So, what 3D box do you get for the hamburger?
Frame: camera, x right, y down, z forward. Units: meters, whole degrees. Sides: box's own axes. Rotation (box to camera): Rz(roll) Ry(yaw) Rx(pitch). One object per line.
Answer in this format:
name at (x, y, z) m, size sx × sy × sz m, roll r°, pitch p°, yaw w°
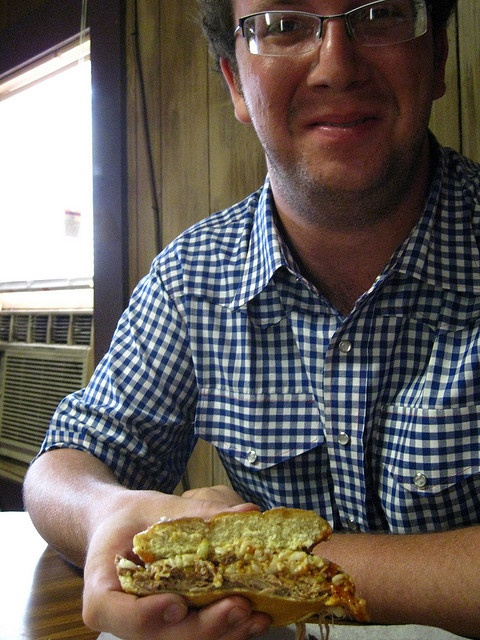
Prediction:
hamburger at (-0.016, 0.284, 0.696) m, size 0.271 × 0.114 × 0.112 m, roll 17°, pitch 11°, yaw 13°
